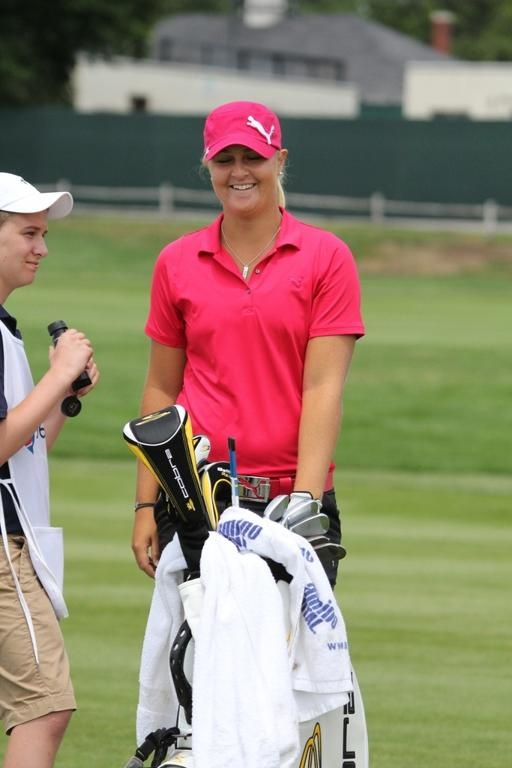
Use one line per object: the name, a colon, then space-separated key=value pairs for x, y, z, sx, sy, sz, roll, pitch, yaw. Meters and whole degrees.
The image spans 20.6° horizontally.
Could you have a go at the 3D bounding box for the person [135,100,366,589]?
person: x=0.057 y=-0.210 z=3.669 sx=0.482 sy=1.425 sz=0.499 roll=-4 pitch=18 yaw=-28

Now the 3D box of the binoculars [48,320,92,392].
binoculars: x=-0.503 y=-0.105 z=3.796 sx=0.082 sy=0.076 sz=0.237 roll=-26 pitch=46 yaw=13
